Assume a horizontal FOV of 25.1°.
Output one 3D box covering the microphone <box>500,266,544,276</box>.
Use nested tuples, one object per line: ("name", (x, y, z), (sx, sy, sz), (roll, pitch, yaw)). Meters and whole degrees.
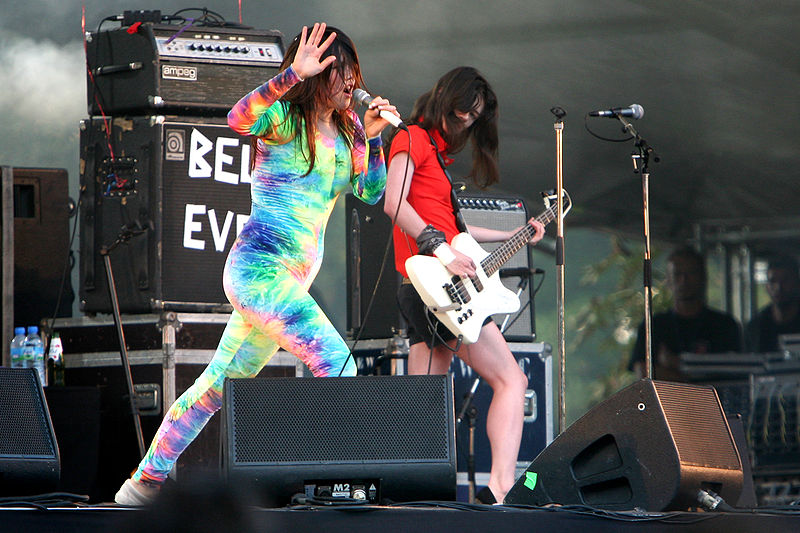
("microphone", (0.684, 0.010, 10.255), (0.234, 0.056, 0.033), (-4, 23, -21))

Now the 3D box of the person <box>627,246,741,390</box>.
("person", (1.855, 0.335, 11.495), (0.793, 1.042, 0.608), (-5, -18, 27))

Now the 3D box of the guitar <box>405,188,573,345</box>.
("guitar", (0.459, 0.004, 9.667), (0.102, 0.402, 0.836), (-24, 14, 49))

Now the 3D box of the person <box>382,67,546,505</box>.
("person", (0.338, 0.153, 9.734), (0.953, 2.444, 0.734), (0, -3, -17))
